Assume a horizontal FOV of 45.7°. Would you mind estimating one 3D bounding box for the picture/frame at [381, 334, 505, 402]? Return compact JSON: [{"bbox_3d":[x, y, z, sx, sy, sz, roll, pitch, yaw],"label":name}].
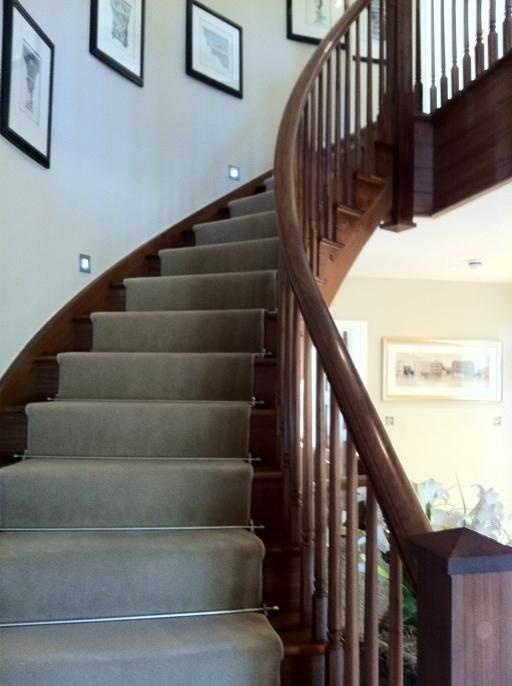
[{"bbox_3d":[1.538,0.218,5.007,1.117,0.545,0.058,4,-6,-16],"label":"picture/frame"}]
